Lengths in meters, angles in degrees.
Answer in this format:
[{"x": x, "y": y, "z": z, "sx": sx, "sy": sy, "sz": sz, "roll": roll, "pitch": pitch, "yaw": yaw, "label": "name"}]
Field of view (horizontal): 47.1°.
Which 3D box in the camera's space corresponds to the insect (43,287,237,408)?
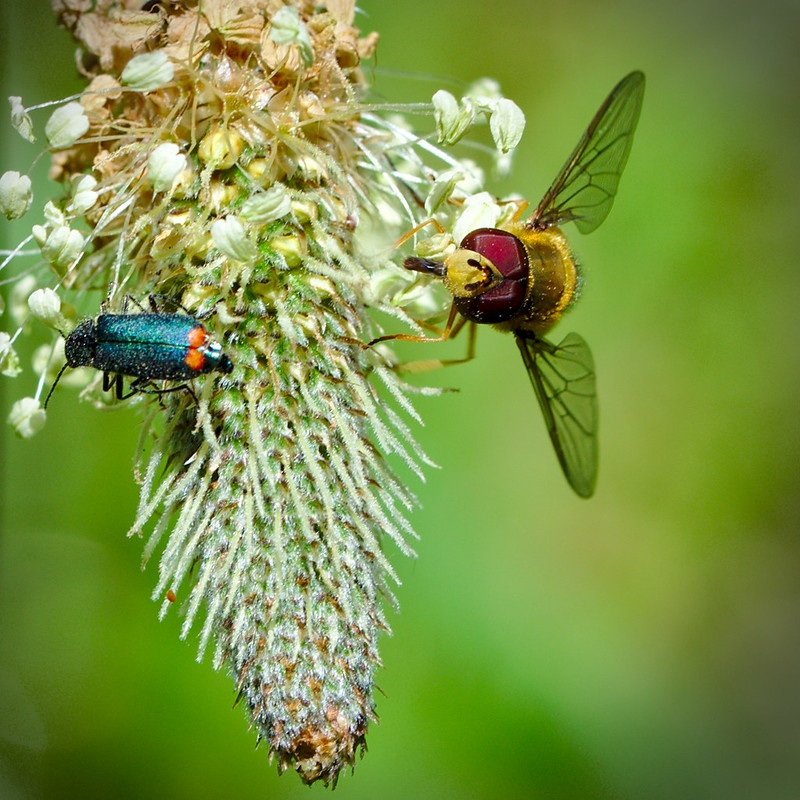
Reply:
[{"x": -0.572, "y": -0.121, "z": 2.029, "sx": 0.437, "sy": 0.224, "sz": 0.226, "roll": 12, "pitch": -12, "yaw": 44, "label": "insect"}]
